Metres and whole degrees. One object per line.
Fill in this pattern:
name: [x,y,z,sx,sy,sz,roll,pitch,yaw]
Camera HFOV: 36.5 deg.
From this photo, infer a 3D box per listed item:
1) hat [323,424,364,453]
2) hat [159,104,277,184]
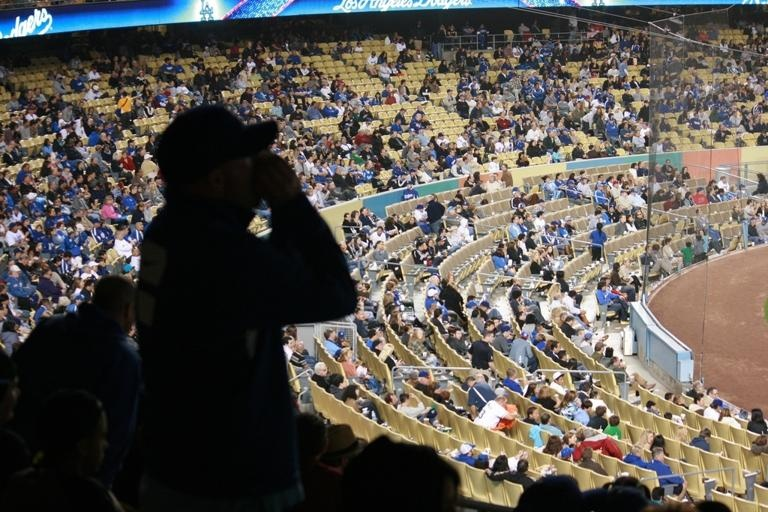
hat: [-0.562,2.489,16.078,0.521,0.328,0.395,-6,19,-3]
hat: [-2.277,-1.423,15.391,1.361,0.640,0.964,-28,15,1]
